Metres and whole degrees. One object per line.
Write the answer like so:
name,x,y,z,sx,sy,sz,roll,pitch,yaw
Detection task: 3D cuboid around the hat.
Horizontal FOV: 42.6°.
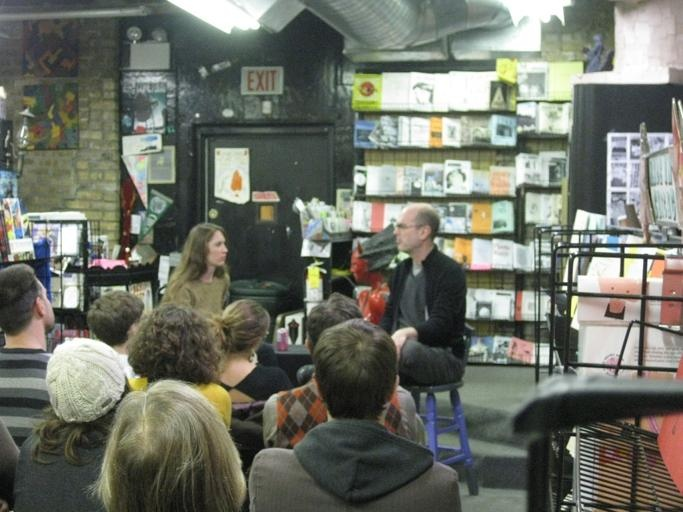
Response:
hat,-0.984,0.473,3.385,0.257,0.303,0.328,-6,1,-4

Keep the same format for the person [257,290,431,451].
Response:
person,-0.007,0.493,3.913,0.472,0.792,0.750,0,8,-3

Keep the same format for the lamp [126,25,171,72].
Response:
lamp,-1.852,-1.996,8.499,0.386,0.404,0.234,-2,1,-7
